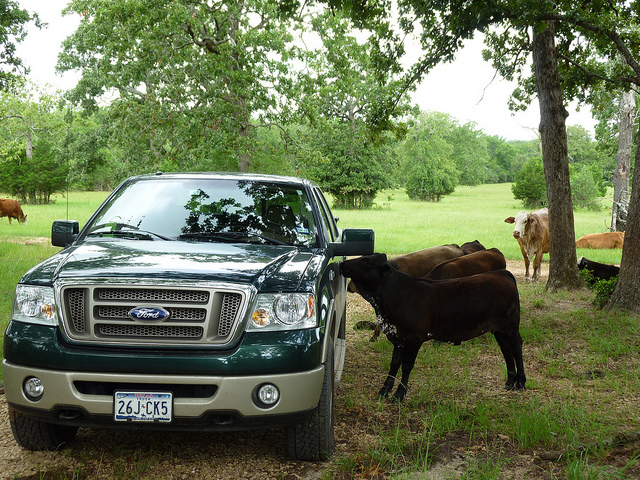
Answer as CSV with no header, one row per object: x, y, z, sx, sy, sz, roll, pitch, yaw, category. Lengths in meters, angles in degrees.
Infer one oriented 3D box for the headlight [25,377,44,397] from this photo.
-2.533,1.315,5.042,0.221,0.175,0.041,1,4,25,headlight

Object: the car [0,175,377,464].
-1.180,0.665,6.210,3.490,2.839,2.772,0,3,4,car

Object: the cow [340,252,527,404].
1.344,1.060,6.812,2.309,1.627,0.622,2,1,-11,cow

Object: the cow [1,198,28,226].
-14.828,-1.362,27.442,1.001,1.194,2.345,-2,3,-32,cow

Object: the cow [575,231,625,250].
9.660,0.029,19.597,1.410,0.560,0.679,1,3,24,cow

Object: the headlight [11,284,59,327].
-2.745,0.627,5.271,0.361,0.371,0.554,-12,-13,16,headlight
